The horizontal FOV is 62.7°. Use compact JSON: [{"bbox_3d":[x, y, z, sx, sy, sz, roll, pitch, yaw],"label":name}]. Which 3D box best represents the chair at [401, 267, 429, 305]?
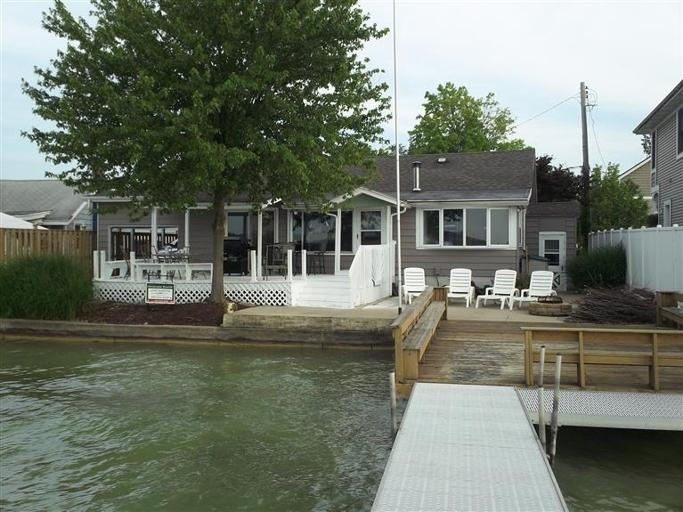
[{"bbox_3d":[2.286,0.850,17.829,0.753,1.041,0.756,-3,-18,18],"label":"chair"}]
